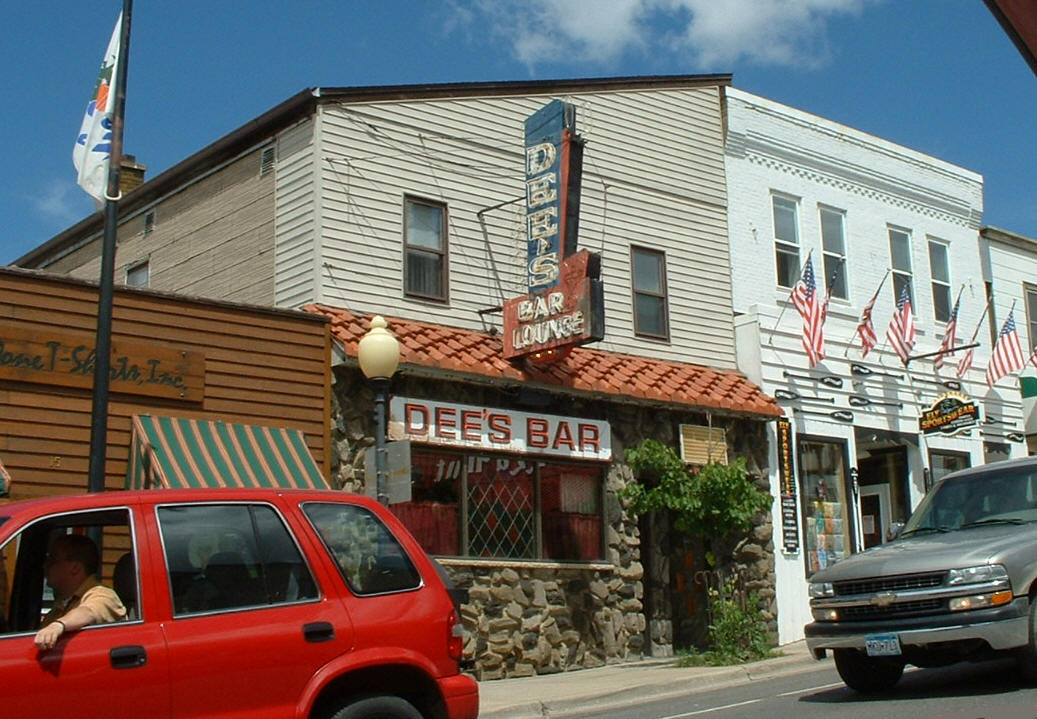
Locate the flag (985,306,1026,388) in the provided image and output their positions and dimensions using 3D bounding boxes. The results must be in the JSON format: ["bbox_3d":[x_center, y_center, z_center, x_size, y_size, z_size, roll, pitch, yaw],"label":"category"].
[{"bbox_3d":[10.831,-0.301,28.079,0.725,1.699,2.042,-11,-8,23],"label":"flag"}]

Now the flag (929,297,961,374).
[{"bbox_3d":[9.104,-0.596,26.470,0.421,1.878,0.233,2,29,-1],"label":"flag"}]

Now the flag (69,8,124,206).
[{"bbox_3d":[-5.102,-3.174,15.568,0.569,0.270,2.929,-2,-48,-27],"label":"flag"}]

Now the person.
[{"bbox_3d":[-3.622,1.844,10.385,0.844,0.779,1.576,5,-6,-28],"label":"person"}]

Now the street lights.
[{"bbox_3d":[-1.740,0.607,16.232,0.504,2.432,0.468,-6,-8,-9],"label":"street lights"}]

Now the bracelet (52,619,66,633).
[{"bbox_3d":[-3.517,2.024,9.598,0.083,0.029,0.064,26,-14,-40],"label":"bracelet"}]
